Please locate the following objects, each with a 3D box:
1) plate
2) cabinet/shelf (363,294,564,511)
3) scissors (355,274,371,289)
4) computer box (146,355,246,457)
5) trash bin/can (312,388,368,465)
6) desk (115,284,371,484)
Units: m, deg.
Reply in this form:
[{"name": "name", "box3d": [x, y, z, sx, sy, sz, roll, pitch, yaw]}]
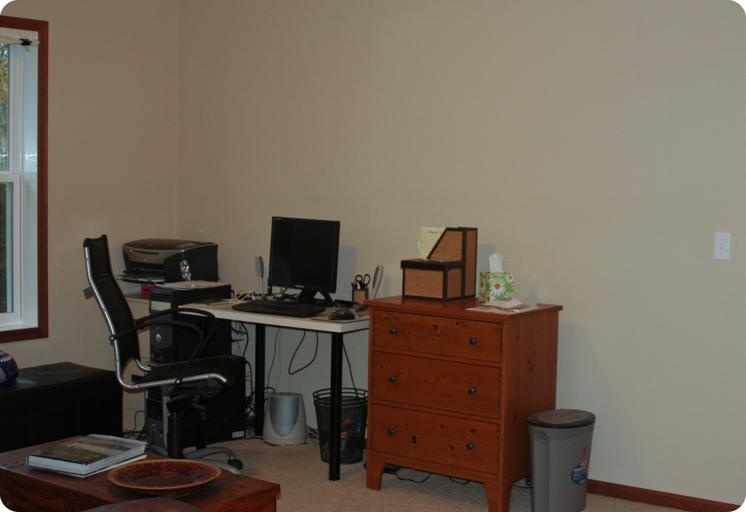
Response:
[{"name": "plate", "box3d": [-0.914, 0.972, 2.701, 0.468, 0.063, 0.283, 2, 7, 6]}, {"name": "cabinet/shelf", "box3d": [0.511, 0.882, 3.714, 1.125, 1.179, 0.502, 3, 8, 13]}, {"name": "scissors", "box3d": [-0.066, 0.188, 4.423, 0.096, 0.104, 0.008, -3, 11, -27]}, {"name": "computer box", "box3d": [-1.234, 1.034, 4.270, 0.327, 0.578, 0.591, -5, -5, 41]}, {"name": "trash bin/can", "box3d": [-0.147, 1.158, 4.323, 0.445, 0.493, 0.447, -1, -1, 16]}, {"name": "desk", "box3d": [-0.846, 0.626, 4.118, 2.038, 1.473, 1.060, 2, 2, 42]}]
